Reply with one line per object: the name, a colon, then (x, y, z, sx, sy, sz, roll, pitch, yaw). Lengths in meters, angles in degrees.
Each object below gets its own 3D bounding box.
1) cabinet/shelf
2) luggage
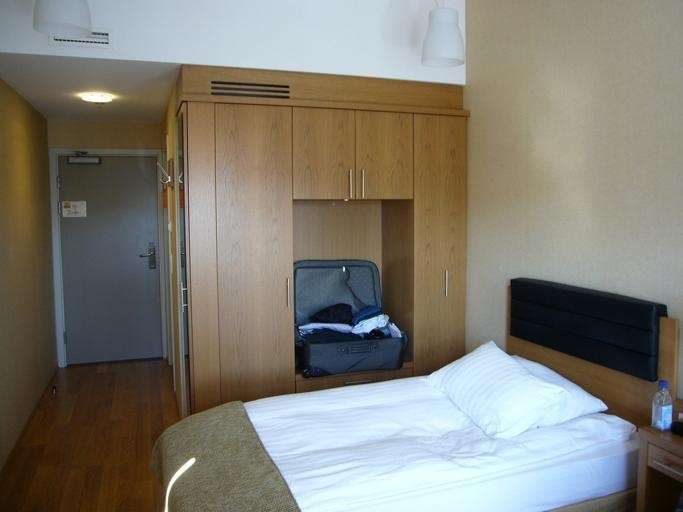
cabinet/shelf: (-0.101, -0.007, 3.960, 2.229, 2.720, 0.661, 0, -1, -22)
luggage: (0.031, 0.468, 4.234, 0.806, 0.868, 0.663, -2, 8, -15)
